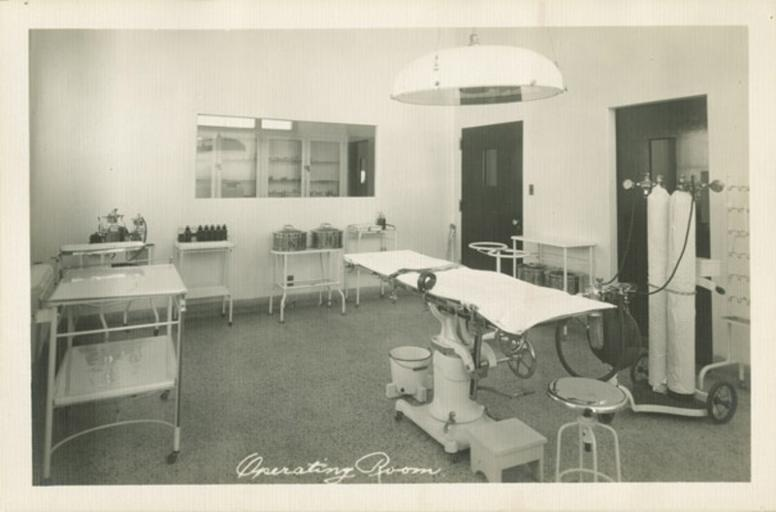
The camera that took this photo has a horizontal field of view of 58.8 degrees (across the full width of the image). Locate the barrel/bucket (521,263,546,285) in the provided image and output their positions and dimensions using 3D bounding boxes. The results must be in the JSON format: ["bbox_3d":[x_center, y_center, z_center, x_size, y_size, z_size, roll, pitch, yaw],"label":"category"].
[{"bbox_3d":[0.848,0.100,3.970,0.123,0.090,0.122,0,3,0],"label":"barrel/bucket"}]

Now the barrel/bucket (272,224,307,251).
[{"bbox_3d":[-0.575,-0.110,4.015,0.153,0.120,0.163,0,3,0],"label":"barrel/bucket"}]

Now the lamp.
[{"bbox_3d":[0.506,-0.894,3.410,0.472,0.226,0.487,5,10,38],"label":"lamp"}]

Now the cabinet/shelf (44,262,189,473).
[{"bbox_3d":[-1.416,0.452,3.764,0.867,0.793,0.719,-9,37,-5],"label":"cabinet/shelf"}]

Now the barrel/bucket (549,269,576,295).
[{"bbox_3d":[1.035,0.149,4.072,0.157,0.174,0.162,0,1,0],"label":"barrel/bucket"}]

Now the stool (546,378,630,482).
[{"bbox_3d":[0.957,0.943,3.307,0.310,0.540,0.324,5,-7,-38],"label":"stool"}]

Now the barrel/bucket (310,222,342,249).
[{"bbox_3d":[-0.356,-0.114,3.970,0.153,0.118,0.158,0,1,0],"label":"barrel/bucket"}]

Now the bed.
[{"bbox_3d":[0.391,0.533,3.765,0.689,0.842,1.395,-5,13,-35],"label":"bed"}]
